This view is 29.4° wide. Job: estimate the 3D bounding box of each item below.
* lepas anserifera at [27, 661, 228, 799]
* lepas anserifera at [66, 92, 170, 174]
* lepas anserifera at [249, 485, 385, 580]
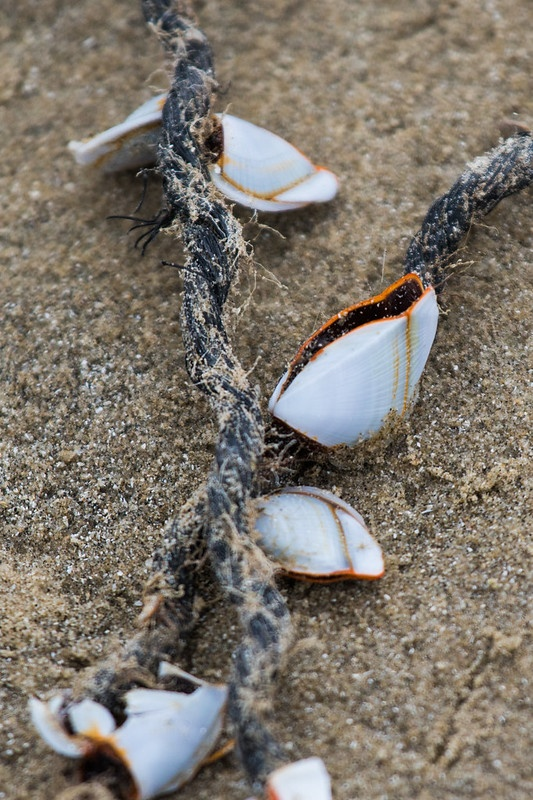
[{"bbox_3d":[-0.477,1.196,3.523,0.679,0.257,0.344,0,49,-6],"label":"lepas anserifera"},{"bbox_3d":[-0.651,-1.161,4.594,0.418,0.360,0.135,-34,98,-3],"label":"lepas anserifera"},{"bbox_3d":[0.193,0.495,3.841,0.480,0.168,0.379,2,47,-5],"label":"lepas anserifera"}]
